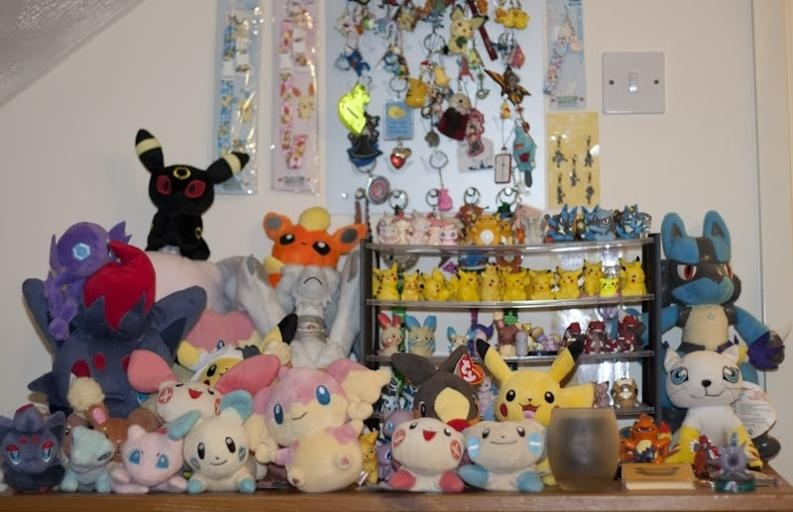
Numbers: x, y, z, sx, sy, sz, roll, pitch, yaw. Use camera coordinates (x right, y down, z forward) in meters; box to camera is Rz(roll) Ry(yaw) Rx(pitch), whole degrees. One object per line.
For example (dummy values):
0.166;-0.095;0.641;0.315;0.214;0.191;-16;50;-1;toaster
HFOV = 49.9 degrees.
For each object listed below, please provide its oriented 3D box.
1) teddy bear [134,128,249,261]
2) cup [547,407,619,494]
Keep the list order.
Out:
-1.086;-0.304;4.581;0.587;0.715;0.267;5;-7;-8;teddy bear
0.794;0.830;3.625;0.299;0.337;0.315;0;-9;0;cup
